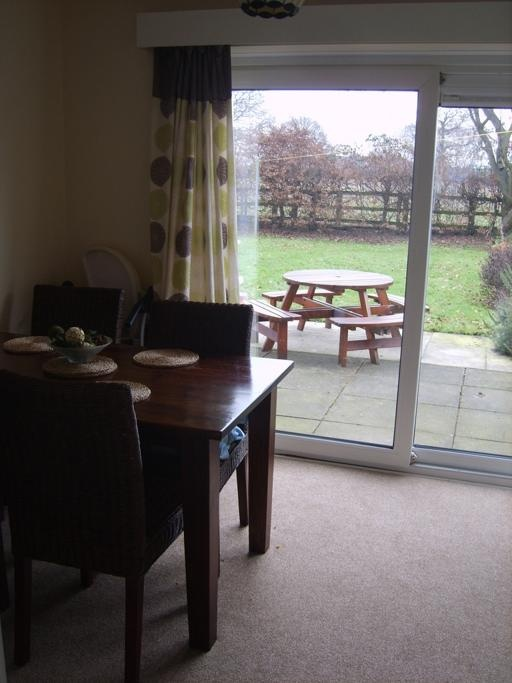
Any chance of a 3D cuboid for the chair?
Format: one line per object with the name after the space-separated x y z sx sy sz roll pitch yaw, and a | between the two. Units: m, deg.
-0.315 0.375 1.678 0.701 0.919 1.138 4 9 15 | chair
